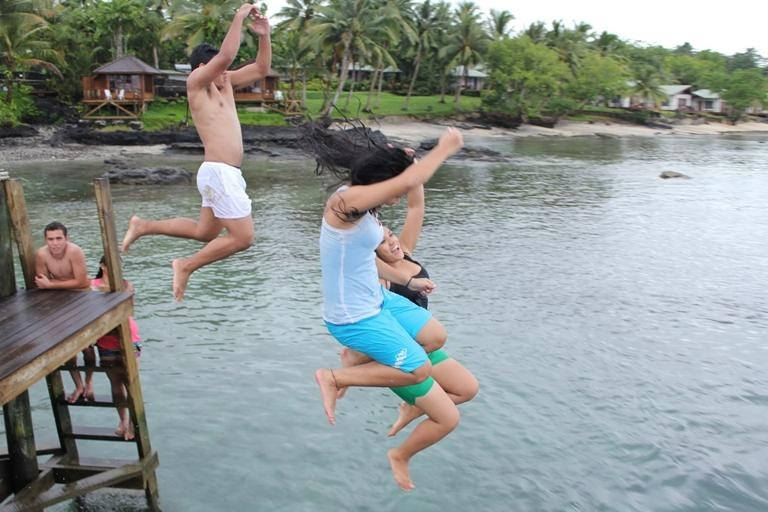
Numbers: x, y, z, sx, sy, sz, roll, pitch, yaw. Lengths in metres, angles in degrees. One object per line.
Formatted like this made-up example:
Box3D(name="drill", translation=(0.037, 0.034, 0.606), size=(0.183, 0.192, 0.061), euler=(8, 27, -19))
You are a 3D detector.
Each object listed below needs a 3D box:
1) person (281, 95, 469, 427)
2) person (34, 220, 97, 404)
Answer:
Box3D(name="person", translation=(-0.084, 0.141, 5.924), size=(1.214, 2.916, 1.122), euler=(-1, 18, -14))
Box3D(name="person", translation=(-3.959, 0.818, 7.555), size=(0.569, 2.469, 1.517), euler=(-5, 18, -25))
